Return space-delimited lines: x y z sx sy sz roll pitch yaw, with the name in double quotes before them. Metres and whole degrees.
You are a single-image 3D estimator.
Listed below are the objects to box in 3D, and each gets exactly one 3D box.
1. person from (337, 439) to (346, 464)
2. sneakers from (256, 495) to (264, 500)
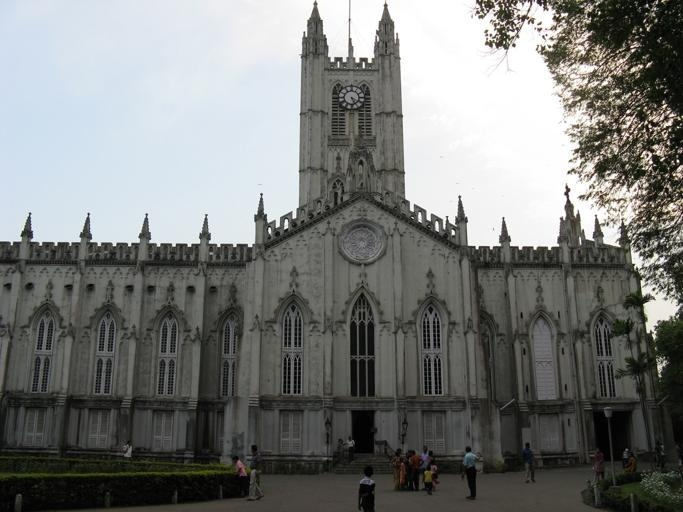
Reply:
"person" 0.031 13.000 43.797 0.582 1.644 1.387 -5 -19 6
"sneakers" -3.797 11.248 30.690 0.267 0.189 0.684 -3 -20 -1
